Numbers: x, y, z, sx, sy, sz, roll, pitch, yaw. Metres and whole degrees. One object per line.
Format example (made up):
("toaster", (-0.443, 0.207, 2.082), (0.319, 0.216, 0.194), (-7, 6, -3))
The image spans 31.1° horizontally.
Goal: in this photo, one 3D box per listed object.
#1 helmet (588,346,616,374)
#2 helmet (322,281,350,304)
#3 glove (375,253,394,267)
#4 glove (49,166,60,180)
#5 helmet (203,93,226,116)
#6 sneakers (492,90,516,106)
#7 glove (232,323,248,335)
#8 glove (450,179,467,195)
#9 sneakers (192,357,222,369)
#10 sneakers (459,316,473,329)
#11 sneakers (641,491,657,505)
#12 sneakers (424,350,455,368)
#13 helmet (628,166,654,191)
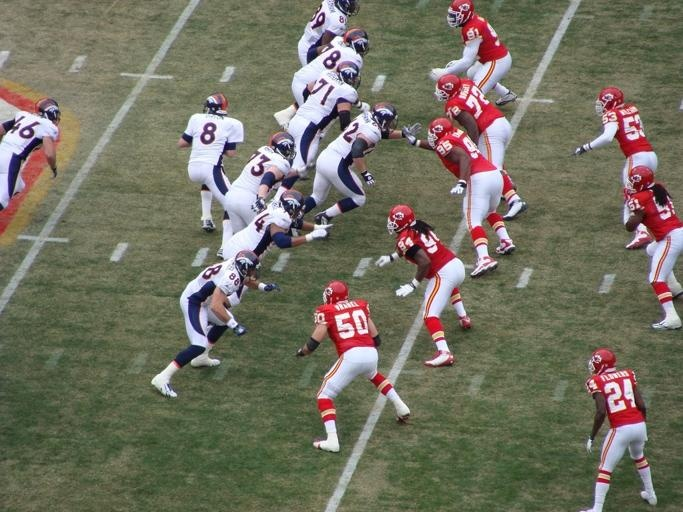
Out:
("helmet", (2.761, 1.111, 13.124), (0.351, 0.240, 0.268), (4, 12, 33))
("helmet", (-0.035, 0.395, 13.783), (0.260, 0.259, 0.310), (-9, 17, -31))
("glove", (0.561, 0.053, 14.554), (0.233, 0.070, 0.114), (-24, 42, 17))
("glove", (-3.831, -1.112, 16.352), (0.138, 0.272, 0.090), (-21, 80, -11))
("helmet", (-1.619, -1.982, 16.051), (0.260, 0.257, 0.334), (-22, 36, -32))
("sneakers", (2.390, -2.259, 17.874), (0.393, 0.203, 0.119), (-15, 60, 48))
("glove", (-1.147, 0.843, 13.876), (0.172, 0.067, 0.139), (29, 43, 34))
("glove", (1.462, -0.851, 15.159), (0.125, 0.117, 0.296), (33, 22, -6))
("sneakers", (-1.593, 1.242, 14.433), (0.395, 0.240, 0.105), (-4, 73, -8))
("sneakers", (1.503, 0.800, 14.686), (0.092, 0.090, 0.227), (-24, 6, 3))
("sneakers", (3.237, 2.523, 12.896), (0.117, 0.065, 0.179), (-4, 29, -20))
("sneakers", (1.184, 1.189, 14.304), (0.428, 0.167, 0.130), (-2, 48, 12))
("helmet", (3.560, -0.919, 14.571), (0.374, 0.259, 0.238), (6, 39, 15))
